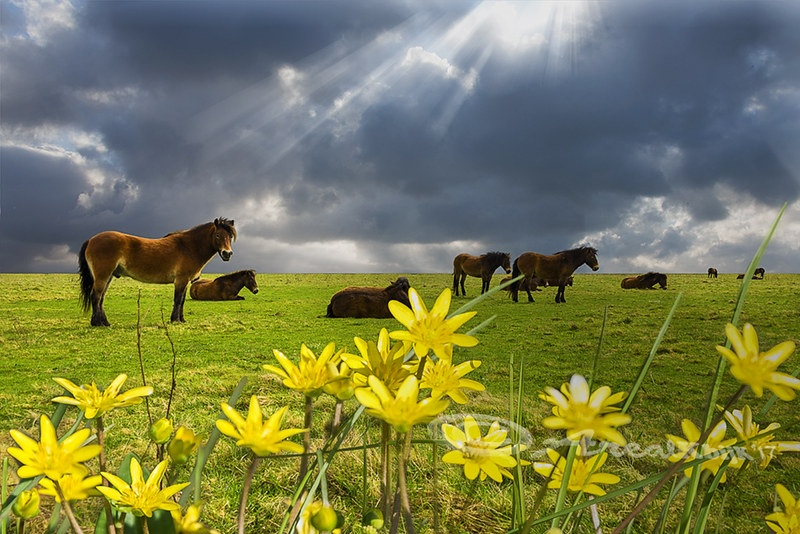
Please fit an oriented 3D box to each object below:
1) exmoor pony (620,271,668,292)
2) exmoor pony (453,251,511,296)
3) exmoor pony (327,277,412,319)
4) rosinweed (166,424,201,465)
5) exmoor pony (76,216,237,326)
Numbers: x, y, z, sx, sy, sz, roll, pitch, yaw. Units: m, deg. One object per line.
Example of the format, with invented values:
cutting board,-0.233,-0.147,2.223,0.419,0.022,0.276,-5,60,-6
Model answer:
exmoor pony,9.984,0.680,20.459,2.071,0.910,0.625,-7,-1,25
exmoor pony,2.967,0.286,18.776,2.678,1.691,0.650,2,1,43
exmoor pony,-0.622,0.877,11.554,2.207,1.189,0.690,6,2,-25
rosinweed,-0.978,0.822,2.272,0.135,0.238,0.136,5,4,-10
exmoor pony,-4.615,0.008,9.604,1.177,1.985,2.586,9,5,38
